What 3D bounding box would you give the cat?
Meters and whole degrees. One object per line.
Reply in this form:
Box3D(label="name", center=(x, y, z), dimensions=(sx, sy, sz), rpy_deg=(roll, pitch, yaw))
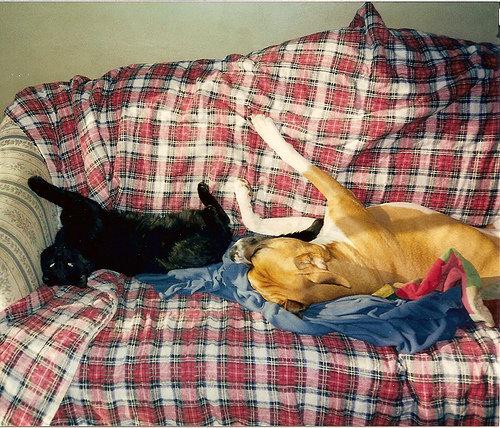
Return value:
Box3D(label="cat", center=(-0.281, 0.118, 2.388), dimensions=(1.228, 0.317, 0.266), rpy_deg=(-12, -14, 7))
